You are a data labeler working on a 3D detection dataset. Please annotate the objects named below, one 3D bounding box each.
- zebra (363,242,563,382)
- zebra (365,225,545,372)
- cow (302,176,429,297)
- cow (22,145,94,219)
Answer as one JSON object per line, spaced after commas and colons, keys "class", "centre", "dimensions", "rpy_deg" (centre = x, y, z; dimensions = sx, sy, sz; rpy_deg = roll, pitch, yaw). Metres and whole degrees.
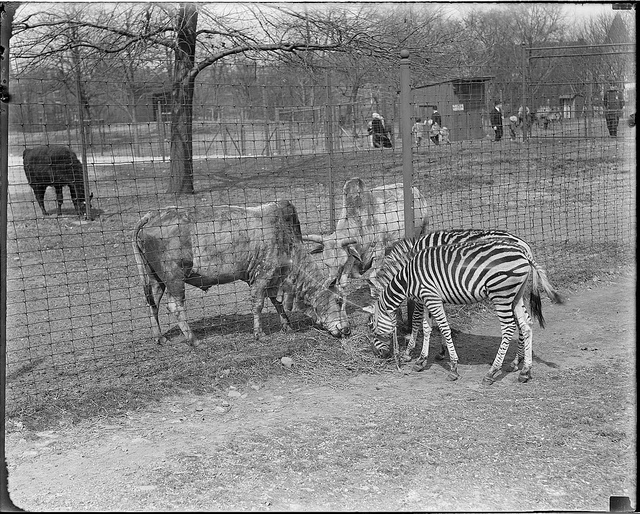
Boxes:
{"class": "zebra", "centre": [1.531, 0.646, 7.893], "dimensions": [2.063, 1.490, 0.605], "rpy_deg": [-3, -1, 19]}
{"class": "zebra", "centre": [1.558, 0.440, 8.102], "dimensions": [1.940, 1.396, 0.581], "rpy_deg": [-11, 6, 33]}
{"class": "cow", "centre": [0.762, -0.207, 9.969], "dimensions": [0.845, 1.859, 2.382], "rpy_deg": [7, 21, 45]}
{"class": "cow", "centre": [-6.394, -1.822, 17.310], "dimensions": [2.453, 1.607, 0.689], "rpy_deg": [10, 15, 40]}
